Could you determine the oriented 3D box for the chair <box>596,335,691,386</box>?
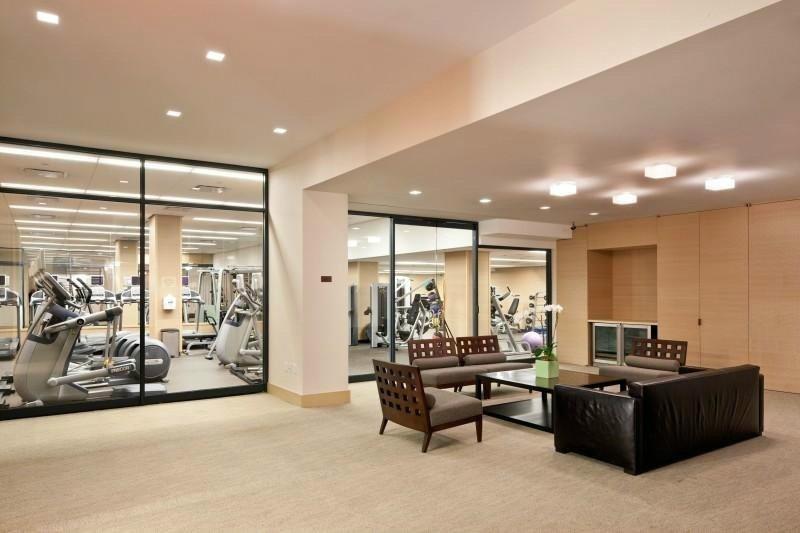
[{"bbox_3d":[4.333,1.655,8.972,1.102,0.850,1.341,2,1,-35],"label":"chair"}]

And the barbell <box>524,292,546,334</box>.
[{"bbox_3d":[3.394,1.183,12.833,0.618,0.770,0.524,-1,-16,23],"label":"barbell"}]

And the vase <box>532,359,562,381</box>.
[{"bbox_3d":[2.308,1.576,7.927,0.283,0.260,0.387,2,-3,-25],"label":"vase"}]

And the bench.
[{"bbox_3d":[1.258,1.704,8.985,2.168,0.824,0.911,2,-4,-34],"label":"bench"}]

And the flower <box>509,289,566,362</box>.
[{"bbox_3d":[3.450,1.578,12.335,1.132,2.002,1.204,2,3,-32],"label":"flower"}]

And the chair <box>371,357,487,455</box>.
[{"bbox_3d":[0.341,1.672,6.977,1.213,1.092,1.312,-1,0,-33],"label":"chair"}]
